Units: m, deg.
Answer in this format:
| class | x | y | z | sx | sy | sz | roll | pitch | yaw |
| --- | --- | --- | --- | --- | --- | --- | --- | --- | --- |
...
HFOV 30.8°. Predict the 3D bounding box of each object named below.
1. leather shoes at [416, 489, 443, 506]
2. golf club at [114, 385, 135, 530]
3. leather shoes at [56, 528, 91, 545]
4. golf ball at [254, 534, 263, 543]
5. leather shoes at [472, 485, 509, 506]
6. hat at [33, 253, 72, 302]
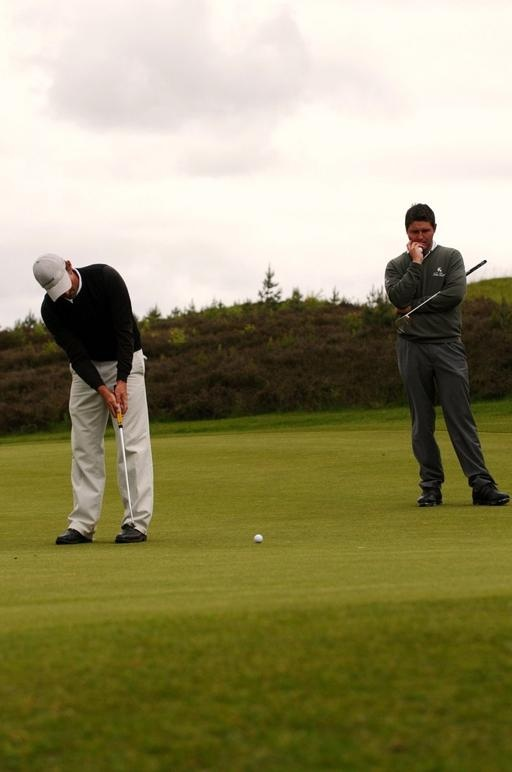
| class | x | y | z | sx | sy | sz | roll | pitch | yaw |
| --- | --- | --- | --- | --- | --- | --- | --- | --- | --- |
| leather shoes | 1.006 | 0.644 | 5.360 | 0.125 | 0.083 | 0.197 | -1 | 4 | 16 |
| golf club | -0.671 | 0.353 | 4.728 | 0.113 | 0.798 | 0.039 | 7 | -21 | -38 |
| leather shoes | -0.831 | 0.689 | 4.254 | 0.064 | 0.071 | 0.167 | -8 | -18 | 36 |
| golf ball | 0.011 | 0.642 | 3.928 | 0.028 | 0.028 | 0.033 | -1 | -15 | 1 |
| leather shoes | 1.348 | 0.625 | 5.337 | 0.099 | 0.100 | 0.197 | -1 | -4 | -43 |
| hat | -0.991 | -0.528 | 4.524 | 0.173 | 0.223 | 0.147 | -4 | 4 | -14 |
